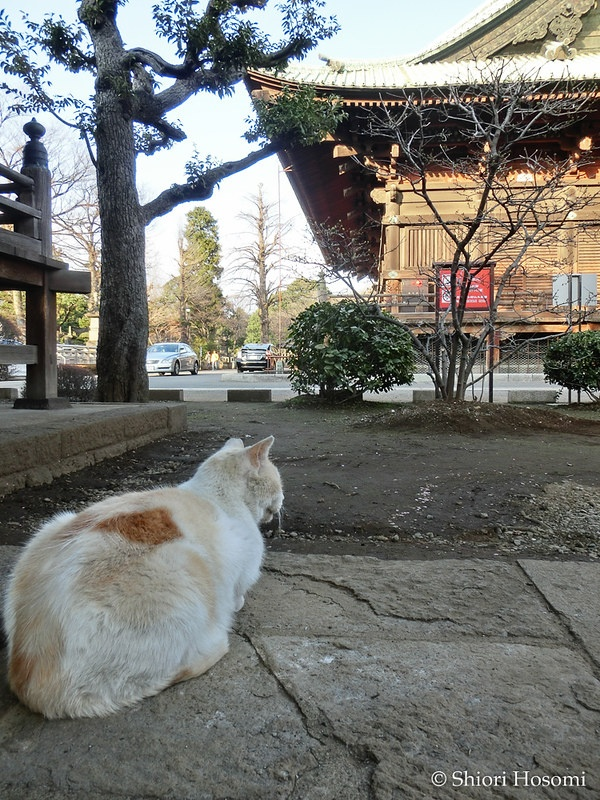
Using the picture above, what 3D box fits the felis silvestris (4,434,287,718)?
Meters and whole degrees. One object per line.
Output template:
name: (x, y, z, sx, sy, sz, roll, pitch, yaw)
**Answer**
felis silvestris: (-0.400, 0.467, 1.742, 0.422, 0.384, 0.702, 9, 18, 27)
